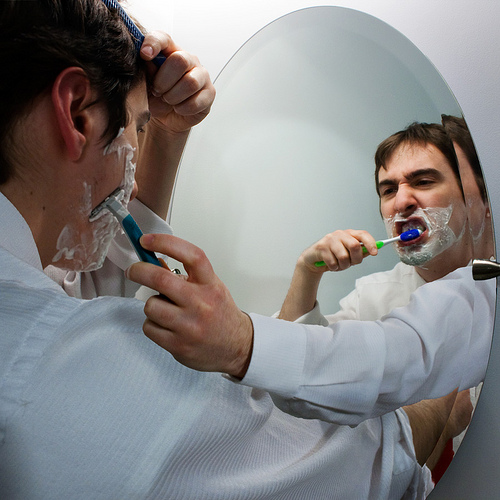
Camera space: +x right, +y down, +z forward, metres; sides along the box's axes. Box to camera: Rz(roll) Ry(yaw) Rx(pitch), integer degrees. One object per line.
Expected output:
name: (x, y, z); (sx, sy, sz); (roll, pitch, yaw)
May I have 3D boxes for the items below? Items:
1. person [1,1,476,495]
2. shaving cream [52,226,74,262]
person: (-0.122, 0.017, 0.912); (0.667, 0.782, 0.401); (10, -16, -34)
shaving cream: (-0.301, -0.009, 0.835); (0.029, 0.049, 0.056); (3, -14, -13)
